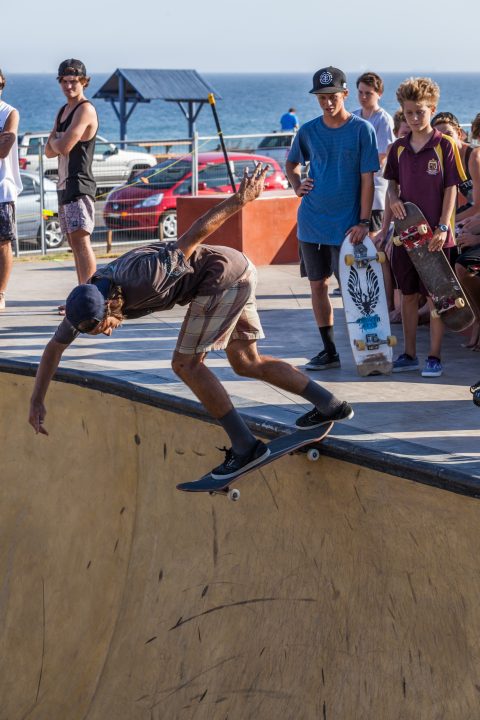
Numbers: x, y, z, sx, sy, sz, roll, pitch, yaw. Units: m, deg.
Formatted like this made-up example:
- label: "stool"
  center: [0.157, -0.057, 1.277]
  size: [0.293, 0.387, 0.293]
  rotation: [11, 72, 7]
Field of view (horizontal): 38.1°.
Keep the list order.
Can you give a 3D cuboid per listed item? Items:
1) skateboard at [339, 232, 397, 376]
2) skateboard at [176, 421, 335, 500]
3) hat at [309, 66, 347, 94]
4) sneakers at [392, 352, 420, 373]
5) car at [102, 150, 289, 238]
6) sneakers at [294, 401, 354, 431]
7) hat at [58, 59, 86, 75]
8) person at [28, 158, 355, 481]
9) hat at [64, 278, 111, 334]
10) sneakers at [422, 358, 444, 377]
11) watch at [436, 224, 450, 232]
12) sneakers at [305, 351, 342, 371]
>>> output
- label: "skateboard"
  center: [0.788, -0.322, 4.426]
  size: [0.304, 0.946, 0.142]
  rotation: [-7, -1, -18]
- label: "skateboard"
  center: [0.095, 0.443, 3.045]
  size: [0.698, 0.100, 0.169]
  rotation: [-27, 15, -22]
- label: "hat"
  center: [0.536, -1.678, 4.206]
  size: [0.193, 0.148, 0.220]
  rotation: [1, 21, 7]
- label: "sneakers"
  center: [1.081, 0.036, 4.633]
  size: [0.232, 0.101, 0.085]
  rotation: [0, 6, -21]
- label: "car"
  center: [-0.971, -3.298, 13.568]
  size: [3.359, 1.469, 1.745]
  rotation: [-14, 31, -40]
- label: "sneakers"
  center: [0.368, 0.256, 3.109]
  size: [0.285, 0.112, 0.101]
  rotation: [-17, 8, 1]
- label: "hat"
  center: [-1.343, -2.326, 5.587]
  size: [0.184, 0.129, 0.305]
  rotation: [-3, 20, -4]
- label: "person"
  center: [-0.185, -0.134, 2.856]
  size: [1.277, 1.232, 0.608]
  rotation: [-10, 22, -21]
- label: "hat"
  center: [-0.558, -0.196, 2.583]
  size: [0.166, 0.155, 0.261]
  rotation: [-5, 20, -8]
- label: "sneakers"
  center: [1.228, 0.054, 4.447]
  size: [0.122, 0.124, 0.296]
  rotation: [-1, -1, 13]
- label: "watch"
  center: [1.230, -0.798, 4.233]
  size: [0.051, 0.023, 0.049]
  rotation: [6, 17, -41]
- label: "sneakers"
  center: [0.562, 0.019, 4.727]
  size: [0.281, 0.118, 0.100]
  rotation: [-3, 2, -27]
